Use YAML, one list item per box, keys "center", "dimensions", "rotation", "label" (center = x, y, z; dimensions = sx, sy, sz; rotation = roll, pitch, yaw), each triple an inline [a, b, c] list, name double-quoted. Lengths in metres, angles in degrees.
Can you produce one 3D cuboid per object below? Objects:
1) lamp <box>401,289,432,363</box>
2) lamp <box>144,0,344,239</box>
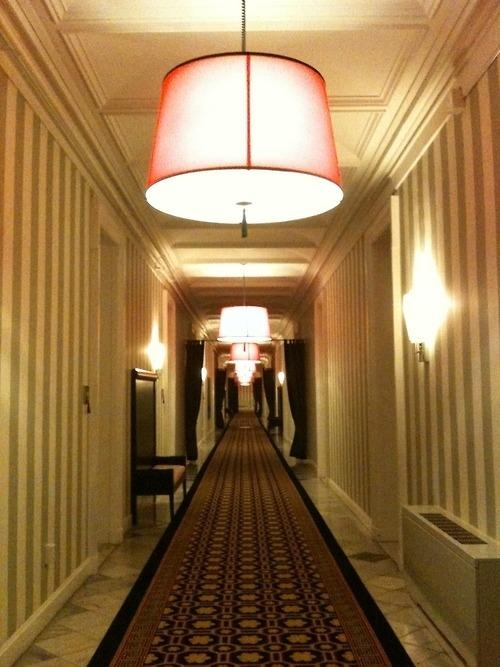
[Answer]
- center: [1.049, -0.040, 3.320]
  dimensions: [0.116, 0.467, 0.409]
  rotation: [-3, -6, 10]
  label: "lamp"
- center: [-0.015, -0.643, 1.615]
  dimensions: [0.598, 0.749, 0.662]
  rotation: [0, -13, 0]
  label: "lamp"
